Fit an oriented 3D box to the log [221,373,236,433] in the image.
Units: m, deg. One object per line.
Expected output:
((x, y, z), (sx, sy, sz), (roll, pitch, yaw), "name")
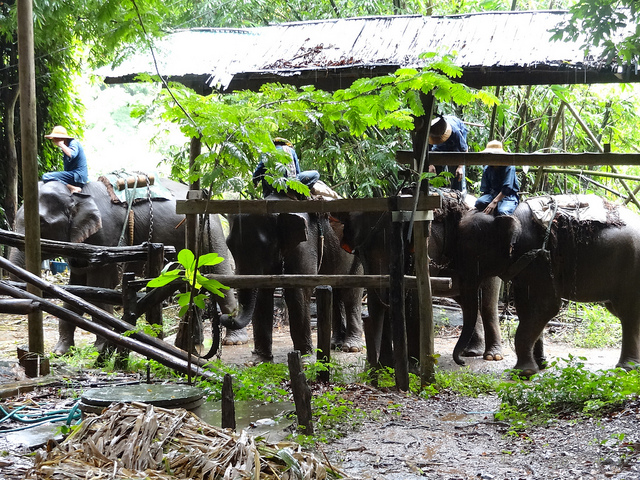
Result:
((-0.678, 1.193, 5.632), (0.088, 0.424, 0.241), (1, 6, -7), "log")

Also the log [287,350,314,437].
((-0.140, 1.258, 6.168), (0.224, 0.768, 0.328), (1, 6, -1), "log")

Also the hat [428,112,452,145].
((1.430, -1.305, 8.878), (0.343, 0.387, 0.148), (3, 15, 29), "hat")

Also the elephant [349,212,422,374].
((0.729, 0.544, 8.215), (0.805, 1.760, 1.389), (2, 6, 2), "elephant")

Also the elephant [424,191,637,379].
((2.510, 0.522, 8.656), (2.229, 2.032, 0.914), (3, 6, 11), "elephant")

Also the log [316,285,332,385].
((0.043, 0.950, 7.508), (0.153, 0.990, 0.322), (2, 6, 0), "log")

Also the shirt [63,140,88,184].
((-3.433, -1.102, 10.568), (0.322, 0.609, 0.338), (1, 6, -4), "shirt")

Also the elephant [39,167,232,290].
((-2.903, 0.126, 10.824), (3.514, 2.049, 1.333), (1, 6, -17), "elephant")

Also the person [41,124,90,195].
((-3.557, -1.006, 10.564), (0.588, 1.095, 0.883), (-2, -3, 0), "person")

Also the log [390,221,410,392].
((0.837, 0.666, 7.692), (0.237, 1.717, 0.354), (1, 6, -2), "log")

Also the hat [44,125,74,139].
((-3.647, -1.495, 10.545), (0.270, 0.109, 0.274), (-1, -4, -4), "hat")

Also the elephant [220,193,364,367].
((-0.318, 0.486, 9.422), (1.162, 2.053, 2.698), (3, 3, 40), "elephant")

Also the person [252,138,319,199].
((-0.378, -0.863, 9.060), (0.810, 0.826, 0.714), (3, 9, 16), "person")

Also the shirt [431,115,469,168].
((1.664, -1.370, 9.370), (0.235, 0.623, 0.363), (26, -39, -2), "shirt")

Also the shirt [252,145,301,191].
((-0.526, -0.863, 8.891), (0.507, 0.536, 1.158), (2, 6, 5), "shirt")

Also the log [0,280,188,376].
((-2.373, 0.944, 7.959), (2.073, 0.158, 0.202), (27, -46, -17), "log")

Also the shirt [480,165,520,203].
((2.207, -0.708, 9.212), (0.475, 0.617, 0.394), (-1, 1, 32), "shirt")
